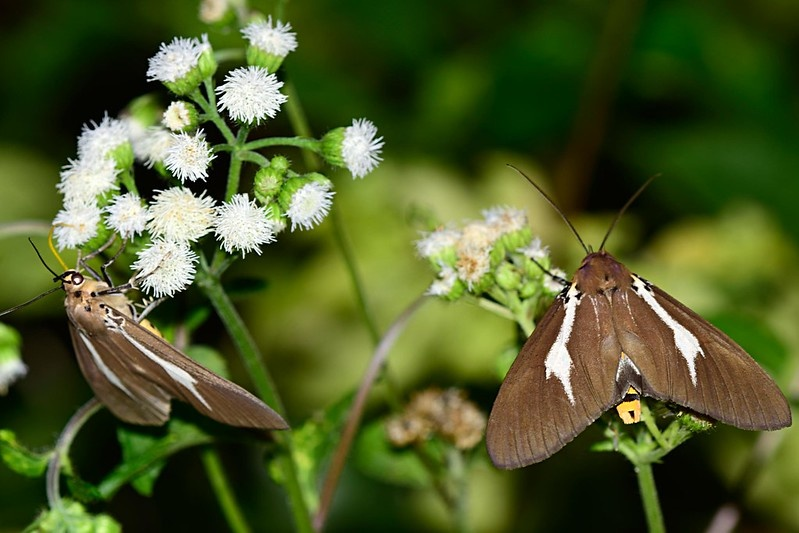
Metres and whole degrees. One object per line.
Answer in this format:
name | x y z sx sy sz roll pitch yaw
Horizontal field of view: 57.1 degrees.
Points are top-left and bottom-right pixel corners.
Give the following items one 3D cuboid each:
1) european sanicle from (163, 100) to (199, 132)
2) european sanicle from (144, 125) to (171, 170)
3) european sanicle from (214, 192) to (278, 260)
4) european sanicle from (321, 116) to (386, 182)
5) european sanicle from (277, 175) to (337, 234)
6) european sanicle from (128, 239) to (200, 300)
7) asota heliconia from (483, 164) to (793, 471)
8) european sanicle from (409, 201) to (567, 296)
european sanicle | -1.008 -0.688 3.394 0.137 0.155 0.076 -8 12 -7
european sanicle | -1.187 -0.586 3.611 0.175 0.197 0.071 12 -8 38
european sanicle | -0.714 -0.196 3.359 0.278 0.260 0.103 3 2 -2
european sanicle | -0.232 -0.558 3.483 0.266 0.300 0.126 -4 -7 -2
european sanicle | -0.447 -0.319 3.528 0.272 0.262 0.412 -10 5 -8
european sanicle | -0.969 0.014 3.412 0.078 0.208 0.208 -18 -41 36
asota heliconia | 1.048 0.291 3.821 0.964 1.670 2.054 1 2 5
european sanicle | 0.479 -0.075 3.929 1.180 0.618 0.238 2 0 11
